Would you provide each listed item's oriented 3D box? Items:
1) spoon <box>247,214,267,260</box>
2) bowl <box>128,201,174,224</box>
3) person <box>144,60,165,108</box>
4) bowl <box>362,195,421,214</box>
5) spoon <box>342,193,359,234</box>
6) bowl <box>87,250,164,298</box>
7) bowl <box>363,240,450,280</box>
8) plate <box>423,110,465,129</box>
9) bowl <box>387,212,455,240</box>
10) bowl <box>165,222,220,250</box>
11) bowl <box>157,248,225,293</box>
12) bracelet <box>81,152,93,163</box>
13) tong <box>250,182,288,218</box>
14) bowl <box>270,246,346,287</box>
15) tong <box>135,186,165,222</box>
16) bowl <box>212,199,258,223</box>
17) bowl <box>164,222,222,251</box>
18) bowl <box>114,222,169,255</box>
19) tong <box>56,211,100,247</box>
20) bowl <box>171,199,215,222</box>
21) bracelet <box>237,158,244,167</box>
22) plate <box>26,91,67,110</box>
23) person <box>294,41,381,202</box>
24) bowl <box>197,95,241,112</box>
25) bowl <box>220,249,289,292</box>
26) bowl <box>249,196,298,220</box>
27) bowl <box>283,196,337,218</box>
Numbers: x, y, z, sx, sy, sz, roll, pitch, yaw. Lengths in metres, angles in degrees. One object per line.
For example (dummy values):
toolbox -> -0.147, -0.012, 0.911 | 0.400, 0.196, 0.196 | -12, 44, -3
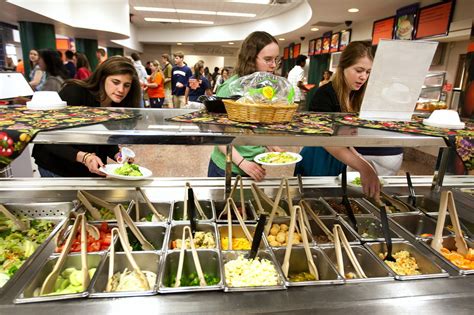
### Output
spoon -> 0.086, 0.401, 1.494 | 0.082, 0.266, 0.048 | 13, 16, -5
bowl -> -0.535, 0.321, 1.813 | 0.181, 0.082, 0.151 | 0, 21, -2
person -> -2.318, -2.052, 8.164 | 0.515, 1.268, 0.555 | -3, 24, 0
bowl -> 1.032, 0.323, 1.932 | 0.187, 0.036, 0.159 | 2, 18, 0
spoon -> 0.714, 0.358, 1.837 | 0.055, 0.044, 0.258 | 5, 50, -18
bowl -> -0.525, 0.565, 1.416 | 0.241, 0.113, 0.201 | 1, 27, -5
bowl -> 0.924, 0.509, 1.519 | 0.200, 0.066, 0.228 | -3, 18, -12
plate -> 1.124, -0.207, 1.597 | 0.168, 0.050, 0.158 | -9, 16, -37
bowl -> 1.126, 0.432, 1.791 | 0.187, 0.094, 0.221 | -5, 17, -7
bowl -> -0.251, 0.439, 1.637 | 0.248, 0.062, 0.152 | 0, 27, -4
bowl -> -0.210, 0.571, 1.431 | 0.270, 0.124, 0.220 | 3, 35, -14
bracelet -> -1.106, 0.004, 2.151 | 0.089, 0.063, 0.084 | 14, 27, 35
tong -> 0.174, 0.271, 1.900 | 0.313, 0.224, 0.182 | 2, 24, -9
bowl -> 0.302, 0.594, 1.478 | 0.367, 0.097, 0.253 | 0, 21, -10
tong -> -0.553, 0.305, 1.830 | 0.061, 0.225, 0.055 | -31, 8, -2
bowl -> -0.026, 0.360, 1.794 | 0.262, 0.082, 0.278 | 2, 21, -1
bowl -> -0.247, 0.449, 1.645 | 0.249, 0.062, 0.153 | 0, 25, -5
bowl -> -0.534, 0.460, 1.616 | 0.211, 0.103, 0.174 | 0, 30, -10
tong -> -0.888, 0.393, 1.580 | 0.165, 0.210, 0.064 | 12, -14, -13
bowl -> -0.279, 0.329, 1.844 | 0.214, 0.071, 0.131 | 2, 45, -5
bracelet -> 0.027, 0.041, 2.256 | 0.015, 0.060, 0.052 | 47, -10, 6
plate -> -1.080, -0.318, 1.663 | 0.182, 0.057, 0.155 | 0, 10, -7
person -> 0.790, -0.302, 2.369 | 0.604, 1.233, 1.089 | 3, 23, 12
bowl -> -0.100, -0.306, 1.698 | 0.194, 0.047, 0.121 | 0, 17, -13
bowl -> 0.074, 0.556, 1.436 | 0.292, 0.063, 0.248 | -3, 20, -4
bowl -> 0.229, 0.309, 1.883 | 0.235, 0.083, 0.154 | 1, 17, -10
bowl -> 0.540, 0.332, 1.895 | 0.169, 0.054, 0.192 | 1, 10, -2
